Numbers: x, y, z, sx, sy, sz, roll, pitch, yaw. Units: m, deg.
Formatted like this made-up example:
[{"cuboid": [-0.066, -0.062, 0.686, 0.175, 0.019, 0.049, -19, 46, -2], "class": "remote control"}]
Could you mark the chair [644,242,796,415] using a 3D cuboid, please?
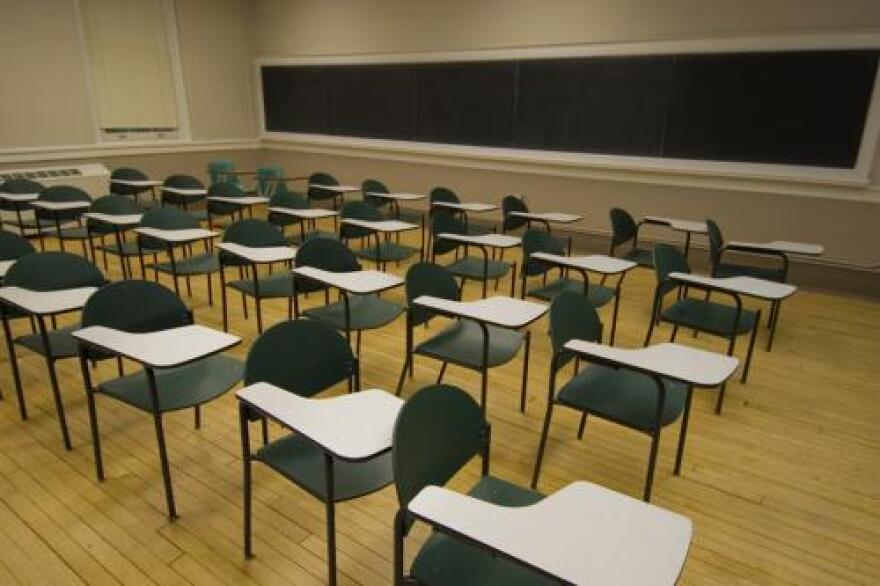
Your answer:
[{"cuboid": [2.364, 0.302, 5.302, 0.930, 1.253, 0.993, -5, 18, -35], "class": "chair"}]

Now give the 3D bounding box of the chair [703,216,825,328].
[{"cuboid": [3.315, -0.397, 6.239, 1.061, 0.799, 0.677, 3, 16, 26], "class": "chair"}]

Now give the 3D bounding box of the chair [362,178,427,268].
[{"cuboid": [-0.625, -0.893, 7.794, 0.854, 1.118, 0.735, 3, 11, 9], "class": "chair"}]

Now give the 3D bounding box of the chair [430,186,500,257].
[{"cuboid": [0.180, -0.726, 7.381, 0.591, 0.976, 0.687, -6, 23, -40], "class": "chair"}]

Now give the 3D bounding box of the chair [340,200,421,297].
[{"cuboid": [-0.651, -0.553, 6.754, 0.957, 0.917, 0.807, 21, 32, 34], "class": "chair"}]

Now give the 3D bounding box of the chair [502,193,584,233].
[{"cuboid": [1.214, -0.825, 7.170, 0.911, 0.617, 0.661, 10, 17, 32], "class": "chair"}]

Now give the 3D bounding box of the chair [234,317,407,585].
[{"cuboid": [-0.792, 1.078, 3.923, 1.005, 1.454, 1.077, 17, 25, 36], "class": "chair"}]

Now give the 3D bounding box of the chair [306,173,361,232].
[{"cuboid": [-1.495, -1.187, 7.901, 0.451, 0.846, 0.577, -2, 0, -15], "class": "chair"}]

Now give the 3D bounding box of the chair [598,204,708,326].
[{"cuboid": [2.337, -0.450, 6.615, 0.959, 0.905, 0.668, 12, 21, 34], "class": "chair"}]

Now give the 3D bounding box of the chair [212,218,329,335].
[{"cuboid": [-1.721, -0.050, 5.569, 0.579, 0.719, 0.566, -3, 17, -33], "class": "chair"}]

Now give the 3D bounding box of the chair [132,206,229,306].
[{"cuboid": [-2.579, -0.362, 6.056, 0.786, 1.079, 0.701, 20, 28, 32], "class": "chair"}]
